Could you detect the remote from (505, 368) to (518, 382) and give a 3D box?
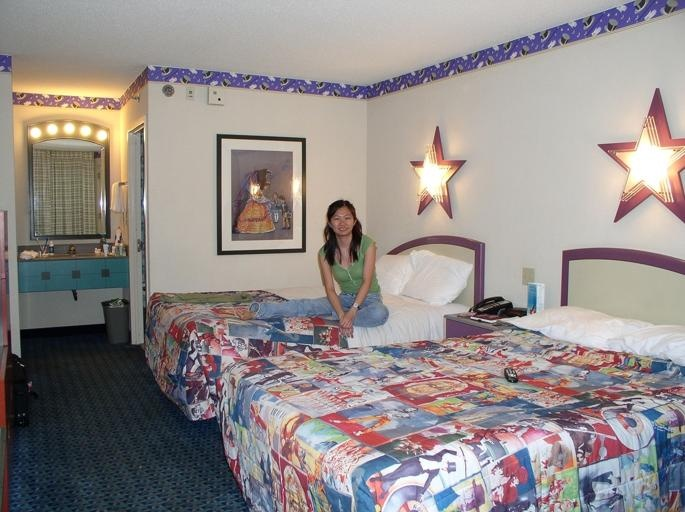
[{"bbox_3d":[0.874,0.612,2.515,0.022,0.046,0.066,-36,-11,16],"label":"remote"}]

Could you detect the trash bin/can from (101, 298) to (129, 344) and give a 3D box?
[{"bbox_3d":[-2.810,0.816,6.072,0.287,0.508,0.342,-5,10,-27],"label":"trash bin/can"}]

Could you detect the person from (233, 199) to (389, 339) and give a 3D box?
[{"bbox_3d":[-0.067,0.089,3.793,0.960,1.010,1.383,4,7,44],"label":"person"}]

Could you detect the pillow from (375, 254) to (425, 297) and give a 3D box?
[{"bbox_3d":[0.588,0.209,5.004,0.114,0.371,0.416,29,-8,-39],"label":"pillow"}]

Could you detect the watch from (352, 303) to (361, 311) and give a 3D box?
[{"bbox_3d":[0.111,0.403,3.893,0.038,0.056,0.058,4,-16,20],"label":"watch"}]

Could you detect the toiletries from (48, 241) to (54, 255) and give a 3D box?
[{"bbox_3d":[-3.743,-0.107,6.259,0.074,0.153,0.199,-5,10,-27],"label":"toiletries"}]

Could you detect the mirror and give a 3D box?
[{"bbox_3d":[-3.595,-0.997,6.422,0.972,1.546,0.226,-4,10,-25],"label":"mirror"}]

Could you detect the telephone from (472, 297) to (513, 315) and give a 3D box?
[{"bbox_3d":[1.285,0.430,4.163,0.235,0.103,0.169,-2,3,-22],"label":"telephone"}]

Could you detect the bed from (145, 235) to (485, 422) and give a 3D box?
[{"bbox_3d":[-0.277,0.516,4.718,2.788,1.267,2.167,-1,2,-28],"label":"bed"}]
